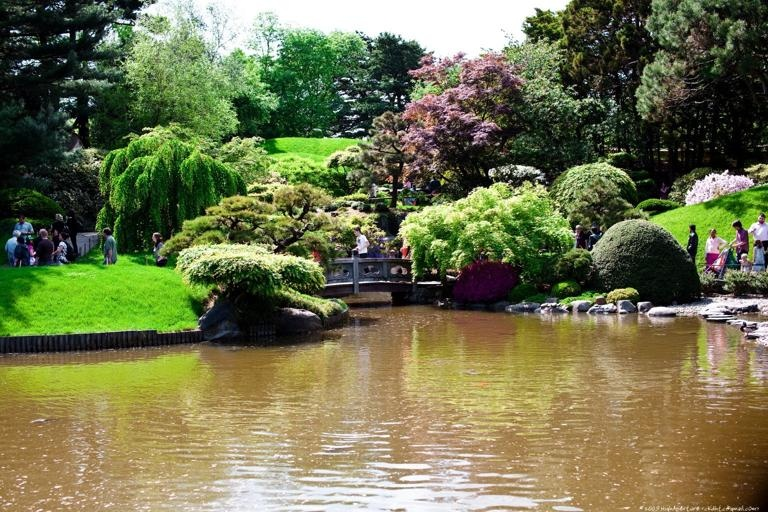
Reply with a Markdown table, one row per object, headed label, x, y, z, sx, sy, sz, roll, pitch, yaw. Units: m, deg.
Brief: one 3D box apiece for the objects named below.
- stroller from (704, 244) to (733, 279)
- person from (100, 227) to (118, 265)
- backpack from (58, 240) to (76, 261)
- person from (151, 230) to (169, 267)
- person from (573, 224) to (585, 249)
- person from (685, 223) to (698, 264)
| label | x | y | z | sx | sy | sz | roll | pitch | yaw |
| --- | --- | --- | --- | --- | --- | --- | --- | --- | --- |
| stroller | 13.330 | 0.286 | 42.942 | 0.988 | 1.267 | 0.861 | -1 | -1 | 16 |
| person | -10.403 | -0.362 | 41.018 | 0.477 | 1.435 | 1.992 | 0 | -1 | -14 |
| backpack | -12.410 | -0.173 | 42.183 | 0.478 | 0.752 | 0.839 | -7 | 1 | 5 |
| person | -8.523 | -0.232 | 41.037 | 0.503 | 1.310 | 3.194 | -1 | -1 | -13 |
| person | 8.271 | -0.772 | 45.297 | 0.397 | 0.938 | 1.860 | -1 | -1 | 11 |
| person | 12.201 | -0.436 | 42.692 | 0.404 | 1.529 | 1.281 | -1 | -1 | 14 |
